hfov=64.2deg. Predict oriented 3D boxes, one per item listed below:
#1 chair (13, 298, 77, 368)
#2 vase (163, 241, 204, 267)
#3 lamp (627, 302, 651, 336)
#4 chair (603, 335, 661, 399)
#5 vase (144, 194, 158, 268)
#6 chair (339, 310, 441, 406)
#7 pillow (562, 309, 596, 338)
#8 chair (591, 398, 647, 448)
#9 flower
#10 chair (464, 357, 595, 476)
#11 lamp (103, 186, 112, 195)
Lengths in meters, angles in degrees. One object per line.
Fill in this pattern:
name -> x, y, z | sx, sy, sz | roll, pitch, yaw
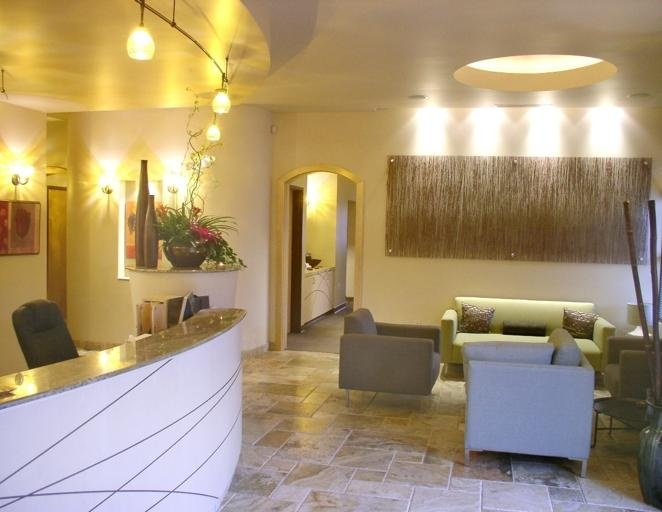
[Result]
chair -> -2.099, 0.560, 3.847 | 0.251, 0.456, 0.449 | 1, 5, 8
vase -> -1.401, 0.002, 5.052 | 0.260, 0.188, 0.271 | 2, 2, 25
lamp -> 4.084, 0.832, 6.983 | 0.299, 0.466, 0.721 | 4, 6, 31
chair -> 3.041, 1.149, 5.438 | 0.541, 0.618, 0.737 | 0, 3, 17
vase -> -1.674, -0.217, 4.869 | 0.132, 0.663, 0.133 | 0, 5, -11
chair -> 0.676, 1.136, 6.011 | 0.998, 0.787, 1.071 | 0, 1, 12
pillow -> 3.235, 0.891, 6.875 | 0.287, 0.305, 0.115 | 6, -26, 30
chair -> 2.667, 1.543, 4.866 | 0.453, 0.320, 0.625 | 2, -1, -3
flower -> -1.457, -0.249, 5.774 | 0.824, 0.430, 0.857 | 2, -1, 31
chair -> 1.710, 1.277, 4.730 | 0.903, 0.861, 0.922 | 3, -2, 11
lamp -> -3.177, -0.934, 7.500 | 0.102, 0.090, 0.117 | 5, 6, 34
